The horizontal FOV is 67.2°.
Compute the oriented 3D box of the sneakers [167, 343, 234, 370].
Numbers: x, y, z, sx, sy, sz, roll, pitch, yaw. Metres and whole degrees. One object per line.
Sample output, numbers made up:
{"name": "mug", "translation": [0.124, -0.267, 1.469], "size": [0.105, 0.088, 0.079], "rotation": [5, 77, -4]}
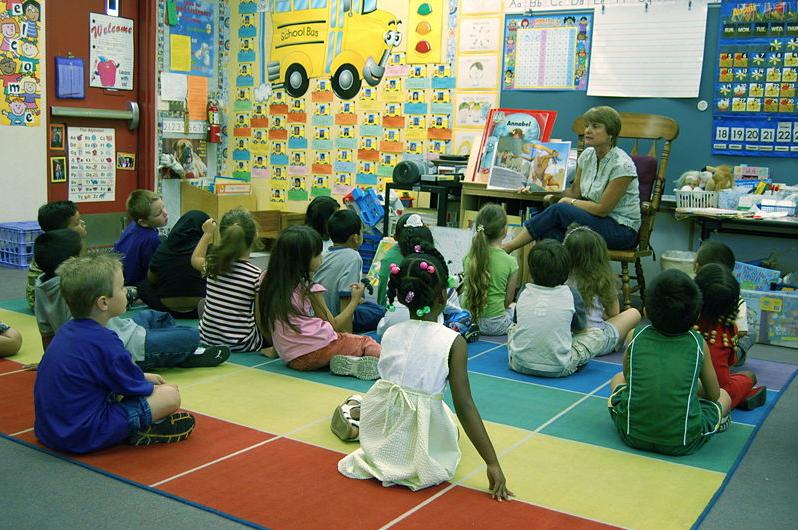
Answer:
{"name": "sneakers", "translation": [-1.181, 0.534, 3.585], "size": [0.370, 0.123, 0.144], "rotation": [-9, 13, -21]}

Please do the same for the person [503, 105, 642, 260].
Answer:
{"name": "person", "translation": [1.294, -0.635, 4.684], "size": [1.173, 1.124, 0.539], "rotation": [-9, 24, -16]}

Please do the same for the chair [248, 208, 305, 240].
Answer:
{"name": "chair", "translation": [-1.374, -0.484, 6.636], "size": [0.638, 0.288, 0.468], "rotation": [2, 4, 40]}

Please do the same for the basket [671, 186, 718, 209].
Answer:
{"name": "basket", "translation": [2.340, -0.530, 4.716], "size": [0.242, 0.109, 0.161], "rotation": [1, 3, 26]}

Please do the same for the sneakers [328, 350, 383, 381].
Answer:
{"name": "sneakers", "translation": [-0.245, 0.571, 3.530], "size": [0.343, 0.124, 0.156], "rotation": [8, 0, 11]}

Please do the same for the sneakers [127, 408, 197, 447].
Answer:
{"name": "sneakers", "translation": [-1.061, 0.746, 2.744], "size": [0.292, 0.116, 0.136], "rotation": [-21, 13, -10]}

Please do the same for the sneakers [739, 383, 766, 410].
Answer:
{"name": "sneakers", "translation": [1.947, 0.716, 3.290], "size": [0.181, 0.064, 0.099], "rotation": [-16, 11, -38]}

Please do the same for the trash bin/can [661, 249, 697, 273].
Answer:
{"name": "trash bin/can", "translation": [2.050, -0.025, 4.378], "size": [0.159, 0.119, 0.159], "rotation": [2, 8, 22]}

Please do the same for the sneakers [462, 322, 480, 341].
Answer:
{"name": "sneakers", "translation": [0.513, 0.479, 4.218], "size": [0.127, 0.122, 0.053], "rotation": [-21, 38, -21]}

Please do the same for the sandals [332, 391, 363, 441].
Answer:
{"name": "sandals", "translation": [-0.241, 0.720, 2.807], "size": [0.085, 0.230, 0.133], "rotation": [28, 15, -40]}
